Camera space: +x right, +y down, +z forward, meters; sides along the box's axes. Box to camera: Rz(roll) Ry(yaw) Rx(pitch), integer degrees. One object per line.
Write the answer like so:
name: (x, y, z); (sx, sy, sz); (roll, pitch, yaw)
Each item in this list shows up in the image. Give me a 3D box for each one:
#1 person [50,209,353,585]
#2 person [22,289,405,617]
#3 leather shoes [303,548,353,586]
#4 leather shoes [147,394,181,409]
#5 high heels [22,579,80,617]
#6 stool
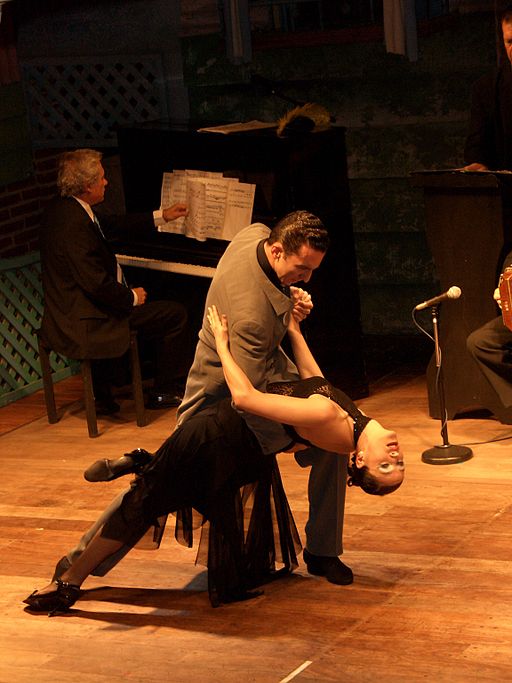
person: (-0.134, 0.207, 1.997); (0.925, 1.121, 0.470); (-2, 14, -23)
person: (-0.099, 0.362, 2.019); (1.110, 0.846, 0.393); (-2, -12, 15)
leather shoes: (0.243, 0.750, 2.224); (0.065, 0.063, 0.170); (-3, 4, -41)
leather shoes: (-0.627, 0.402, 4.535); (0.269, 0.093, 0.082); (-1, 0, -1)
high heels: (-0.641, 0.808, 2.135); (0.258, 0.093, 0.084); (-6, 0, 30)
stool: (-1.084, 0.247, 4.395); (0.455, 0.603, 0.516); (-15, 19, -39)
